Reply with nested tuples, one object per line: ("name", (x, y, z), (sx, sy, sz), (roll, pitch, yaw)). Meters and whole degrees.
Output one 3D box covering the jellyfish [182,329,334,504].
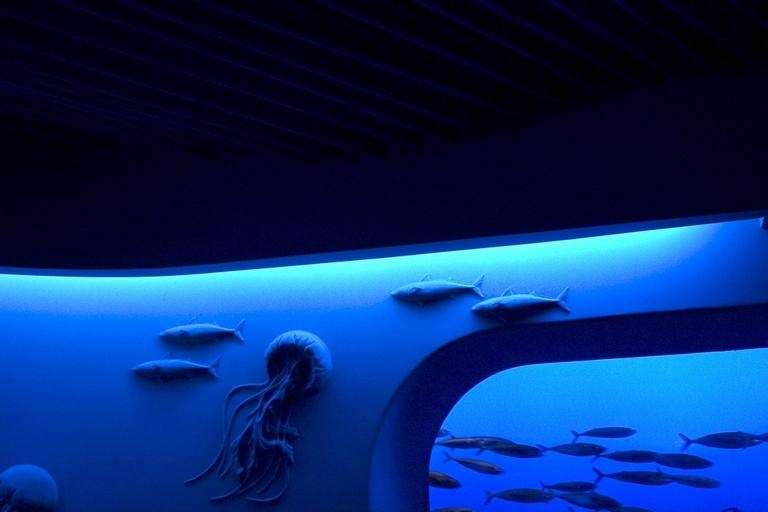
("jellyfish", (-0.891, 1.280, 5.426), (0.840, 1.496, 0.657), (26, -15, 7))
